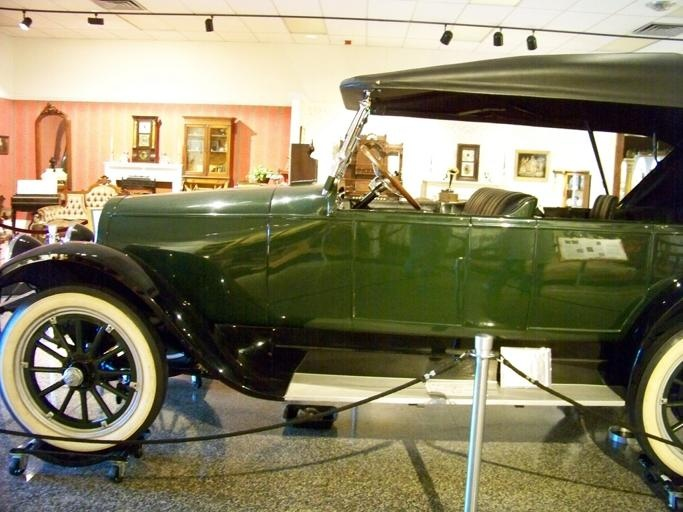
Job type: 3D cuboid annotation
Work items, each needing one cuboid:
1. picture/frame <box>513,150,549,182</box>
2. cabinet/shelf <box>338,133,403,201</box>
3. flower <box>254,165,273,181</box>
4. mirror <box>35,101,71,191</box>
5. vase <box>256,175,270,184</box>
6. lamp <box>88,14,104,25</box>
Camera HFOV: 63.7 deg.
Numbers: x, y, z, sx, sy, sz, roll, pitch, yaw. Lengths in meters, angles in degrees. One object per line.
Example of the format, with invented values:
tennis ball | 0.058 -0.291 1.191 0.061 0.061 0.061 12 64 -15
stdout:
picture/frame | 2.271 -1.082 6.535 0.474 0.330 0.040 1 4 0
cabinet/shelf | 0.178 -0.811 4.913 0.391 0.598 0.686 23 5 -24
flower | -1.165 -1.241 8.293 0.283 0.157 0.245 5 20 11
mirror | -4.992 -1.845 9.555 0.771 1.589 0.079 1 3 13
vase | -1.182 -1.135 8.254 0.206 0.104 0.188 1 1 4
lamp | -3.409 -3.268 7.613 0.225 0.142 0.221 20 28 25
